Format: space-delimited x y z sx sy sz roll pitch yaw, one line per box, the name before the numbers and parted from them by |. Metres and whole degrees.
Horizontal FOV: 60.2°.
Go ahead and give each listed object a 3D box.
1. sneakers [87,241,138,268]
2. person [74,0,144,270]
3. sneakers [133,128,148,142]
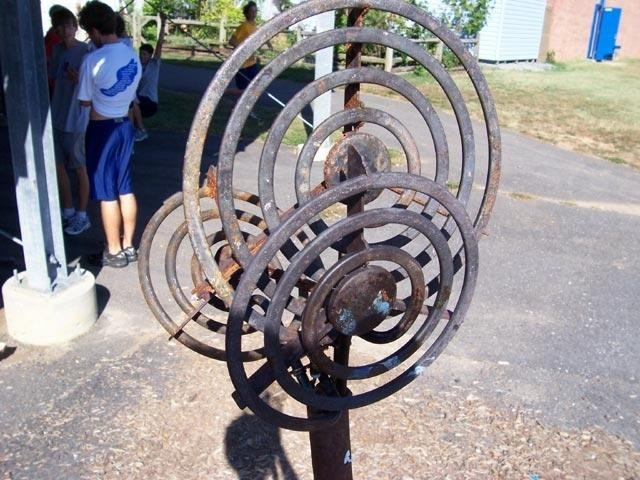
sneakers | -2.148 0.157 5.766 0.329 0.177 0.181 6 15 0
person | -2.009 -0.939 5.384 0.540 2.537 0.377 -3 22 -20
sneakers | -2.959 -1.731 9.086 0.305 0.240 0.118 10 26 28
